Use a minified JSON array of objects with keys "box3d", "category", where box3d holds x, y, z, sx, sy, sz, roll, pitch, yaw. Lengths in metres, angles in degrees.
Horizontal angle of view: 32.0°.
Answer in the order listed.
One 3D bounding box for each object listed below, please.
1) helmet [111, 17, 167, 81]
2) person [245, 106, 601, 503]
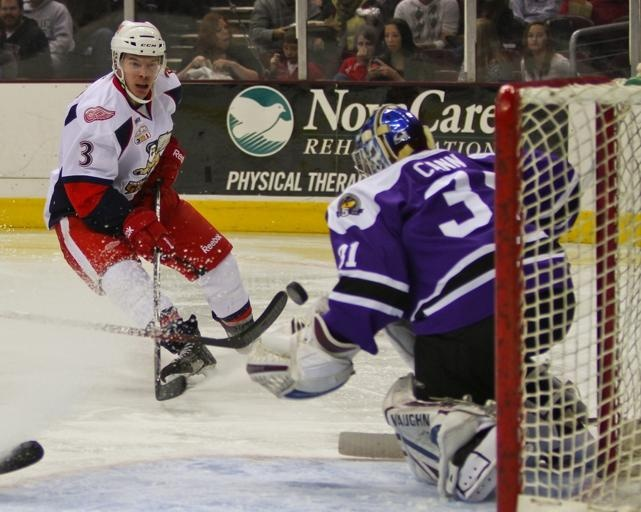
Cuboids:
[{"box3d":[-0.784,-0.914,4.942,0.242,0.266,0.295,-3,1,-23],"category":"helmet"},{"box3d":[0.493,0.151,3.909,1.178,1.254,0.807,12,22,35],"category":"person"}]
